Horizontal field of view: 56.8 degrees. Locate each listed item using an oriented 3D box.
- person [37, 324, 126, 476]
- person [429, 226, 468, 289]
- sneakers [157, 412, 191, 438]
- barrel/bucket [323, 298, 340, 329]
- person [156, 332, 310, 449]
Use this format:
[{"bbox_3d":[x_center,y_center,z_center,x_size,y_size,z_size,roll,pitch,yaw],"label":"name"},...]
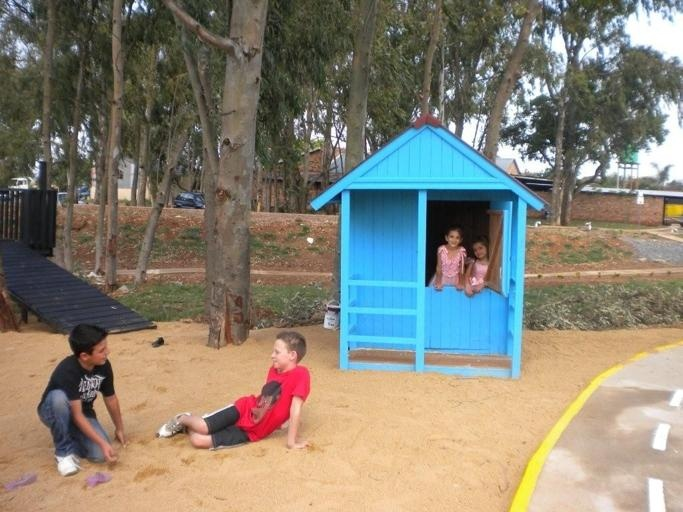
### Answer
[{"bbox_3d":[-3.290,1.757,7.931,0.998,1.790,0.646,-5,14,-24],"label":"person"},{"bbox_3d":[2.006,0.040,11.507,0.635,1.190,0.831,7,5,34],"label":"person"},{"bbox_3d":[-2.292,2.279,8.541,0.437,0.305,0.192,-30,-25,-10],"label":"sneakers"},{"bbox_3d":[-0.200,1.244,12.848,0.493,0.733,0.468,1,11,0],"label":"barrel/bucket"},{"bbox_3d":[-1.478,1.815,8.612,2.015,1.604,1.018,3,-3,-17],"label":"person"}]
